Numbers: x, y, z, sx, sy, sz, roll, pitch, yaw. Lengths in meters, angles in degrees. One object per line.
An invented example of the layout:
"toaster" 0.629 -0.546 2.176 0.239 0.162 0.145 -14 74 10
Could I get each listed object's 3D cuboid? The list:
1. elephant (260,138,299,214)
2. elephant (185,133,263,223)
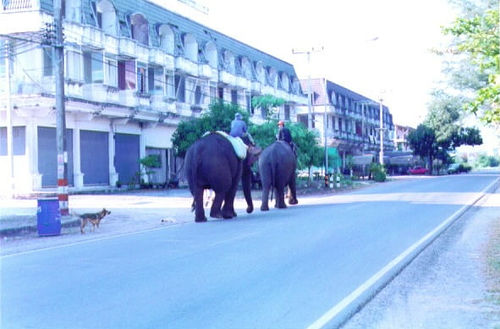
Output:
"elephant" 1.293 0.413 21.462 1.293 3.447 3.018 -3 -2 25
"elephant" -1.543 0.413 18.014 2.398 3.600 5.630 1 -2 -22
